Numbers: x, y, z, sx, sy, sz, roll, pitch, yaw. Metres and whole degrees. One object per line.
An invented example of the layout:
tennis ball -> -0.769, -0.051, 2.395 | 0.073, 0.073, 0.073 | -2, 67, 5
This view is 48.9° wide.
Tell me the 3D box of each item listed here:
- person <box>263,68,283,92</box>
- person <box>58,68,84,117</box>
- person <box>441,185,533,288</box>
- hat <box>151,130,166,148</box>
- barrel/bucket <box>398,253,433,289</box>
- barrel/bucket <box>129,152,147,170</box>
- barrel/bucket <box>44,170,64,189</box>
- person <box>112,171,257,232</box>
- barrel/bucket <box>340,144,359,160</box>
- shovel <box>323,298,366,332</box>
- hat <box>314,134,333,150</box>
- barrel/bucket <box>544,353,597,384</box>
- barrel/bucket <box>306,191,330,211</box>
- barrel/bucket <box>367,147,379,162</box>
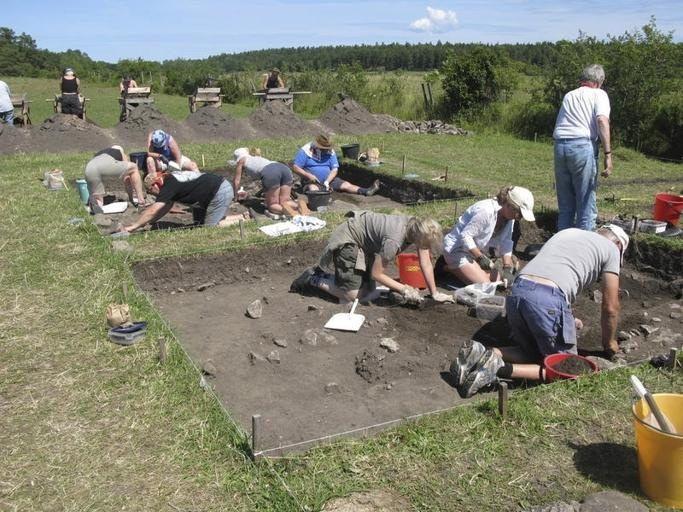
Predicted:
person -> -2.216, -5.659, 23.965 | 0.596, 0.721, 1.733 | -3, 17, -5
person -> -7.344, -4.388, 20.244 | 0.541, 1.366, 1.336 | -8, 19, -18
person -> 1.911, -0.197, 9.745 | 1.091, 1.474, 0.691 | 24, 42, 20
hat -> -3.193, -2.036, 13.135 | 0.332, 0.333, 0.431 | -6, 18, -13
barrel/bucket -> 0.868, 0.182, 9.683 | 0.377, 0.409, 0.446 | -6, 5, -34
barrel/bucket -> -3.739, -1.783, 13.877 | 0.445, 0.299, 0.408 | 0, 7, 0
barrel/bucket -> -5.090, -1.333, 13.078 | 0.387, 0.345, 0.292 | 2, 7, -37
person -> -2.356, -0.824, 11.278 | 1.934, 0.852, 0.882 | -1, 13, -11
barrel/bucket -> 0.160, -2.305, 16.474 | 0.392, 0.251, 0.361 | -2, 15, 1
shovel -> 0.066, 0.699, 8.969 | 0.438, 0.237, 0.524 | 4, 18, 15
hat -> -0.324, -1.988, 13.203 | 0.311, 0.293, 0.334 | -7, 18, -17
barrel/bucket -> 2.364, 1.163, 7.725 | 0.481, 0.277, 0.338 | -9, 19, -25
barrel/bucket -> -0.398, -0.926, 12.645 | 0.382, 0.244, 0.360 | 0, 4, 0
barrel/bucket -> 0.661, -2.112, 15.725 | 0.383, 0.347, 0.265 | 2, 7, -2
